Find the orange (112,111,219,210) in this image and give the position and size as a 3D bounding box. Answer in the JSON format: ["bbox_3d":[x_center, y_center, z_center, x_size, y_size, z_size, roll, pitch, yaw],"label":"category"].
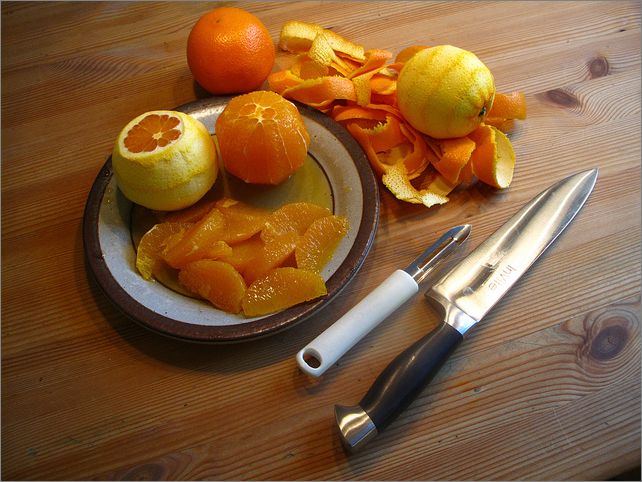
[{"bbox_3d":[-0.427,-0.218,1.706,0.277,0.190,0.231,-13,58,-11],"label":"orange"}]

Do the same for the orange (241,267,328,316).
[{"bbox_3d":[-0.101,0.124,1.595,0.208,0.060,0.094,-11,57,-11],"label":"orange"}]

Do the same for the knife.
[{"bbox_3d":[0.385,0.212,1.643,0.986,0.095,0.166,-41,70,-14],"label":"knife"}]

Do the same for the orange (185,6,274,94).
[{"bbox_3d":[-0.275,-0.583,1.928,0.263,0.228,0.243,-5,42,-4],"label":"orange"}]

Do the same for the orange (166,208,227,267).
[{"bbox_3d":[-0.319,0.002,1.682,0.163,0.043,0.104,-49,48,-2],"label":"orange"}]

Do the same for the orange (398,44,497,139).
[{"bbox_3d":[0.337,-0.428,1.810,0.233,0.210,0.268,-35,34,-13],"label":"orange"}]
